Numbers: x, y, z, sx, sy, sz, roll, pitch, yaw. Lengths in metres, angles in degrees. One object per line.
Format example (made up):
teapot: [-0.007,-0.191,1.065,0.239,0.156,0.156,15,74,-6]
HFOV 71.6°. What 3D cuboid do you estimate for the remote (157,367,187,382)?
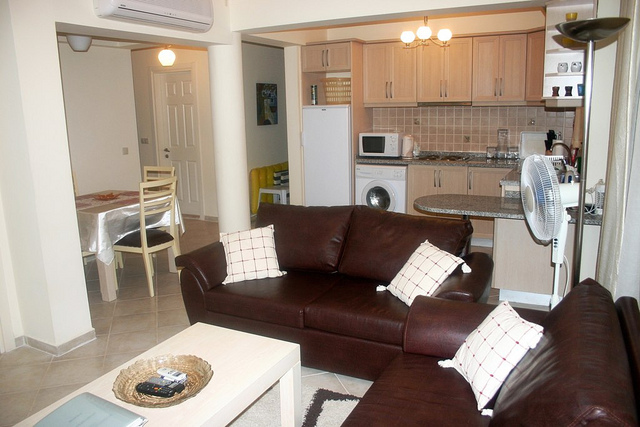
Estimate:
remote: [-0.925,1.004,2.765,0.127,0.026,0.070,4,7,23]

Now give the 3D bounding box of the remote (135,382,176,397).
remote: [-0.986,1.039,2.653,0.180,0.049,0.089,0,11,15]

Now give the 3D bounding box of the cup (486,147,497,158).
cup: [2.514,-0.885,6.478,0.141,0.137,0.077,5,8,30]

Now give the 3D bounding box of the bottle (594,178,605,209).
bottle: [2.464,-0.163,3.921,0.061,0.269,0.083,0,13,16]

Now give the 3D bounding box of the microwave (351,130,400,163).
microwave: [0.889,-0.976,6.875,0.661,0.403,0.504,5,-14,-3]

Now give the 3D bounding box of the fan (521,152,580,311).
fan: [1.677,0.153,3.284,0.392,1.179,0.775,4,15,29]

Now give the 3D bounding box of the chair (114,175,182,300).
chair: [-2.103,0.258,5.381,0.727,1.231,0.690,-1,8,18]

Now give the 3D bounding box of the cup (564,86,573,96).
cup: [2.409,-1.178,4.308,0.074,0.096,0.091,-10,13,-43]

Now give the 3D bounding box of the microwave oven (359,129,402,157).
microwave oven: [0.854,-1.003,6.873,0.635,0.393,0.476,0,-6,-11]
